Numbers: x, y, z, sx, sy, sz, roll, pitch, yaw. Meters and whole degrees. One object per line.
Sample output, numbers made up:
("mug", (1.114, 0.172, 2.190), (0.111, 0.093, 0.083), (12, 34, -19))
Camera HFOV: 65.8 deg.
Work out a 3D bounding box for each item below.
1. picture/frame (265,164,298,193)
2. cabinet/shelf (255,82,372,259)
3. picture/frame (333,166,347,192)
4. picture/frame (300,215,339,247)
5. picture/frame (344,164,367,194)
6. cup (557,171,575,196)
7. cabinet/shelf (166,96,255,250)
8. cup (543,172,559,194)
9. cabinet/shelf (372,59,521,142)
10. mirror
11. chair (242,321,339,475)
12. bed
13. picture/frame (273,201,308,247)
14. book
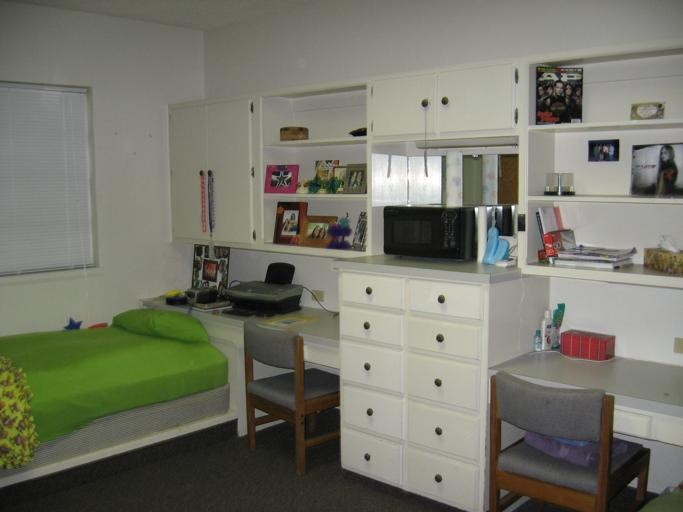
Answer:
("picture/frame", (-0.477, -0.607, 4.208), (0.222, 0.206, 0.027), (0, -5, 26))
("cabinet/shelf", (-0.209, -0.656, 4.121), (1.316, 1.322, 0.410), (2, 3, 40))
("picture/frame", (-0.015, -0.572, 4.030), (0.037, 0.185, 0.177), (4, -8, -11))
("picture/frame", (-0.168, -0.186, 4.135), (0.231, 0.248, 0.018), (0, -13, 34))
("picture/frame", (0.109, -0.554, 3.864), (0.215, 0.266, 0.020), (-7, -17, 38))
("cup", (1.317, -0.422, 3.092), (0.122, 0.147, 0.127), (1, 5, 0))
("cabinet/shelf", (-1.049, -0.696, 4.736), (1.172, 1.241, 0.426), (8, 12, 38))
("cup", (1.248, -0.430, 3.126), (0.113, 0.141, 0.120), (0, 7, 0))
("cabinet/shelf", (0.627, -0.945, 3.351), (0.921, 0.408, 0.201), (2, 7, 25))
("mirror", (0.949, -0.481, 3.371), (0.379, 0.317, 0.080), (7, 12, 37))
("chair", (-0.363, 0.935, 3.727), (0.784, 0.984, 0.447), (5, 11, 32))
("bed", (-1.503, 0.913, 3.703), (1.015, 0.395, 1.001), (5, 7, 45))
("picture/frame", (-0.405, -0.250, 4.259), (0.329, 0.423, 0.028), (4, -6, 38))
("book", (1.429, -0.148, 3.059), (0.464, 0.321, 0.370), (3, 7, 32))
